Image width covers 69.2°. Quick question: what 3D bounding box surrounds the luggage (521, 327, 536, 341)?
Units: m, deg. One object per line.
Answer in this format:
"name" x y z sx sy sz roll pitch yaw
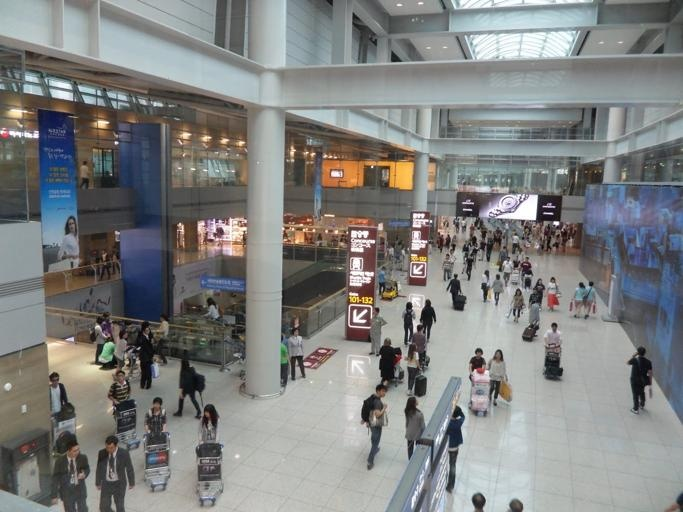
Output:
"luggage" 7.195 2.933 19.018 0.359 0.522 0.738 4 9 41

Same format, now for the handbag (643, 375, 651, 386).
"handbag" 8.321 3.362 13.449 0.105 0.269 0.172 -7 8 -38

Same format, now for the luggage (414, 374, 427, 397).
"luggage" 2.116 3.522 13.325 0.271 0.630 0.380 0 7 14

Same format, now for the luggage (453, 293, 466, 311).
"luggage" 5.334 2.060 22.895 0.648 0.604 0.879 10 12 11

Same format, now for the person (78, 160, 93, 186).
"person" -11.456 -3.687 21.998 0.395 1.299 1.198 -5 7 -21

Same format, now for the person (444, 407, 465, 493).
"person" 2.361 3.986 10.423 0.294 1.767 0.533 4 9 40

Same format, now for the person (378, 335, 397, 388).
"person" 1.315 3.047 14.211 0.477 1.324 0.446 0 -2 25

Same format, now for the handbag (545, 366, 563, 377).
"handbag" 6.596 3.556 15.420 0.318 0.142 0.423 0 3 11

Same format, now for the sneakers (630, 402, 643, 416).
"sneakers" 8.186 4.185 13.634 0.165 0.208 0.484 1 5 35

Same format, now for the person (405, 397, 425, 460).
"person" 1.583 3.741 10.663 0.414 1.723 0.950 -1 7 9

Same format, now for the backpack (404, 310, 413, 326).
"backpack" 2.421 2.185 17.861 0.339 0.591 0.484 -1 7 6

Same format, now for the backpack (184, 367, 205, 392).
"backpack" -3.832 3.204 12.750 0.615 0.654 0.447 5 15 -4

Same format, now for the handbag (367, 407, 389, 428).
"handbag" 0.834 3.533 10.953 0.442 0.388 0.209 -6 7 -27
